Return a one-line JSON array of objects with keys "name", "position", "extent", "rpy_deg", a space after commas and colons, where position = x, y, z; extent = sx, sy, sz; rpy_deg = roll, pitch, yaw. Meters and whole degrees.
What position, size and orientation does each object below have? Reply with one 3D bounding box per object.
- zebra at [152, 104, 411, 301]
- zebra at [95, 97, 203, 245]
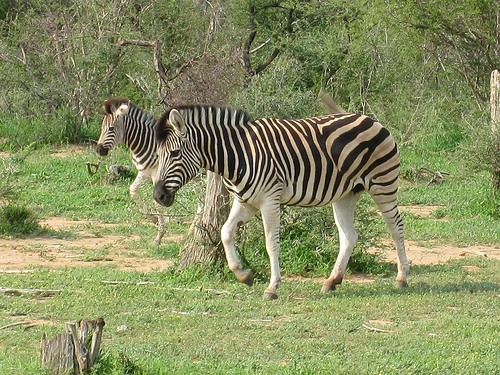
[{"name": "zebra", "position": [0.608, 0.242, 12.160], "extent": [4.296, 3.134, 1.064], "rpy_deg": [-3, 2, -19]}, {"name": "zebra", "position": [-1.673, -0.287, 15.742], "extent": [0.862, 2.676, 3.552], "rpy_deg": [0, 0, 44]}]
